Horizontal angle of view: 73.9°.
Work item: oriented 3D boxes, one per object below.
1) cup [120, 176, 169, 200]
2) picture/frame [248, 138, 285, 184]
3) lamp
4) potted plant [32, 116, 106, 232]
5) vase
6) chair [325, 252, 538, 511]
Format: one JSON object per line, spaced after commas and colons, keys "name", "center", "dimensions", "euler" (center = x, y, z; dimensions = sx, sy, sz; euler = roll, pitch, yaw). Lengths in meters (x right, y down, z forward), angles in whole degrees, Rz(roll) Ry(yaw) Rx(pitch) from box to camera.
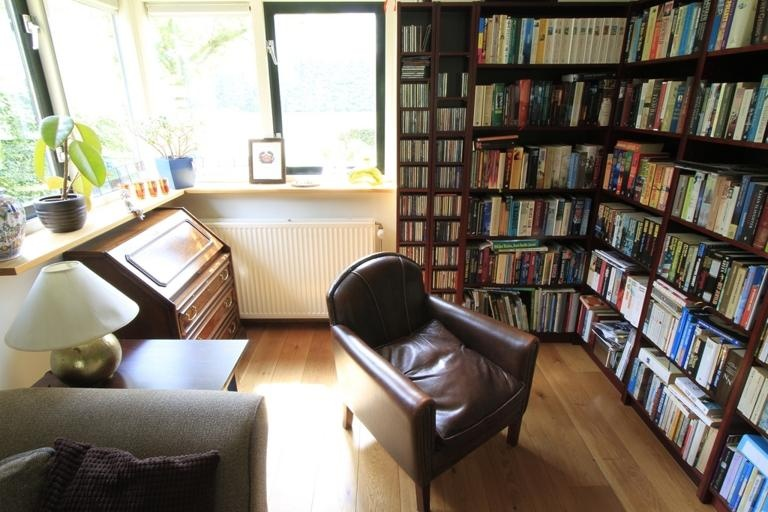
{"name": "cup", "center": [-1.801, -0.515, 3.878], "dimensions": [0.265, 0.131, 0.222], "euler": [-3, 20, -7]}
{"name": "picture/frame", "center": [-0.983, -0.808, 4.279], "dimensions": [0.395, 0.455, 0.035], "euler": [-1, 12, -7]}
{"name": "lamp", "center": [-1.648, 0.383, 2.700], "dimensions": [0.596, 0.656, 0.305], "euler": [-2, 21, -2]}
{"name": "potted plant", "center": [-1.977, -0.529, 3.200], "dimensions": [0.419, 0.690, 0.584], "euler": [-12, 23, -28]}
{"name": "vase", "center": [-1.767, -0.867, 4.197], "dimensions": [0.464, 0.566, 0.395], "euler": [-2, 20, -3]}
{"name": "chair", "center": [0.285, 0.843, 3.283], "dimensions": [0.975, 1.211, 1.016], "euler": [-21, 34, -30]}
